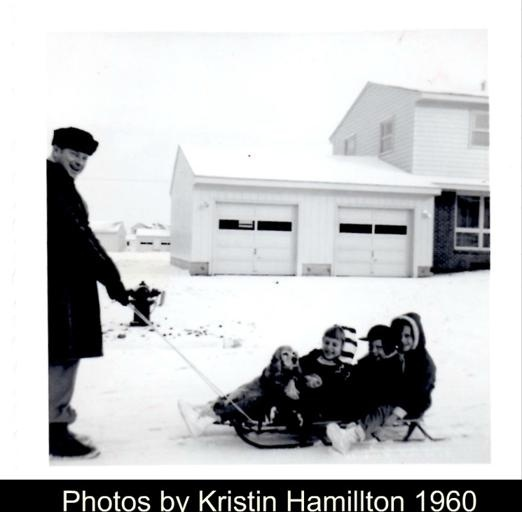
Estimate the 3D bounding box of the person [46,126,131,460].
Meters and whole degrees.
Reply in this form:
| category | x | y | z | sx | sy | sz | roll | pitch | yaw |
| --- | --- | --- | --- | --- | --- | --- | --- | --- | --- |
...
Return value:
| category | x | y | z | sx | sy | sz | roll | pitch | yaw |
| --- | --- | --- | --- | --- | --- | --- | --- | --- | --- |
| person | -1.484 | 0.308 | 6.241 | 0.577 | 2.700 | 0.296 | 2 | -2 | -14 |

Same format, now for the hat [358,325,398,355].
| category | x | y | z | sx | sy | sz | roll | pitch | yaw |
| --- | --- | --- | --- | --- | --- | --- | --- | --- | --- |
| hat | 1.007 | 0.709 | 6.382 | 0.237 | 0.126 | 0.182 | -2 | 3 | 29 |

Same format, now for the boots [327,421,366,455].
| category | x | y | z | sx | sy | sz | roll | pitch | yaw |
| --- | --- | --- | --- | --- | --- | --- | --- | --- | --- |
| boots | 0.694 | 1.499 | 6.219 | 0.237 | 0.261 | 0.106 | 4 | -17 | -20 |
